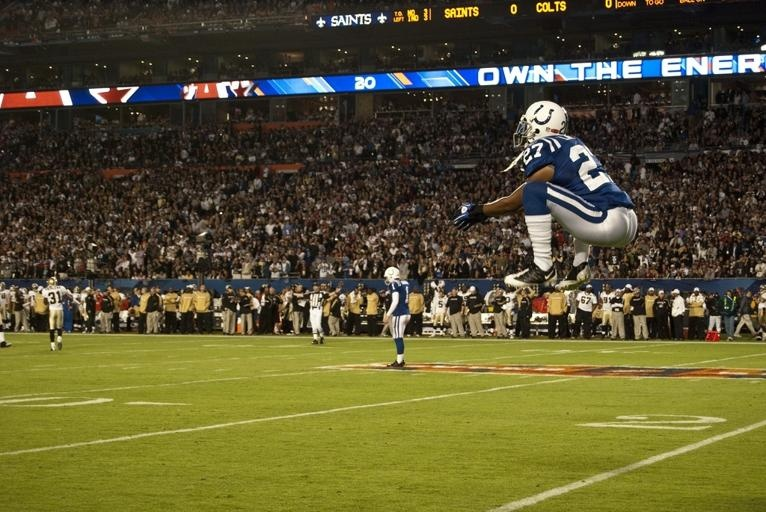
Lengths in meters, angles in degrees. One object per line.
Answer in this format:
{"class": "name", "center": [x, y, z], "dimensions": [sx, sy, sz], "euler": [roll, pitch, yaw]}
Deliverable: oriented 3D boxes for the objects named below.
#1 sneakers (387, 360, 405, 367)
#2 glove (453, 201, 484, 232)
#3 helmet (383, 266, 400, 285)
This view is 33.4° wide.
{"class": "sneakers", "center": [0.370, 3.397, 39.530], "dimensions": [0.572, 0.207, 0.188], "euler": [1, -4, 12]}
{"class": "glove", "center": [2.174, -0.988, 31.586], "dimensions": [0.782, 0.639, 0.472], "euler": [-2, -4, 31]}
{"class": "helmet", "center": [0.219, 0.650, 40.390], "dimensions": [0.609, 0.562, 0.478], "euler": [0, -2, 22]}
